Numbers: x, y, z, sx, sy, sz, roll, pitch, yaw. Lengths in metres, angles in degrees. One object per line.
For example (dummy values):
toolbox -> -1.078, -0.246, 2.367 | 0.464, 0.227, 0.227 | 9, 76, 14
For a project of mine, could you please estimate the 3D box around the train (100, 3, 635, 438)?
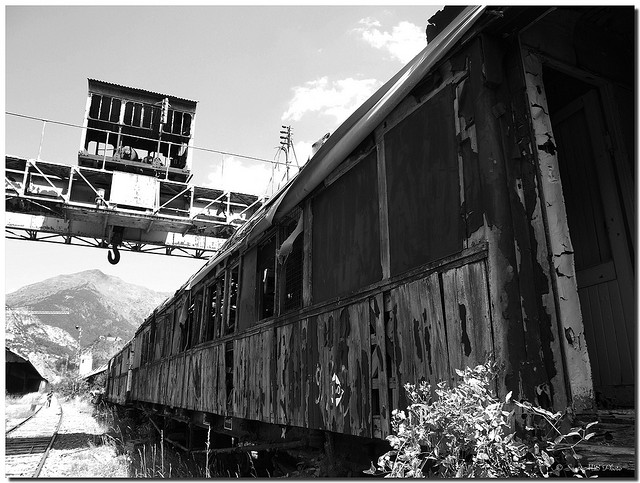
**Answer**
train -> -1.836, 2.110, 10.836 | 2.562, 3.769, 17.064 | 11, -24, -27
